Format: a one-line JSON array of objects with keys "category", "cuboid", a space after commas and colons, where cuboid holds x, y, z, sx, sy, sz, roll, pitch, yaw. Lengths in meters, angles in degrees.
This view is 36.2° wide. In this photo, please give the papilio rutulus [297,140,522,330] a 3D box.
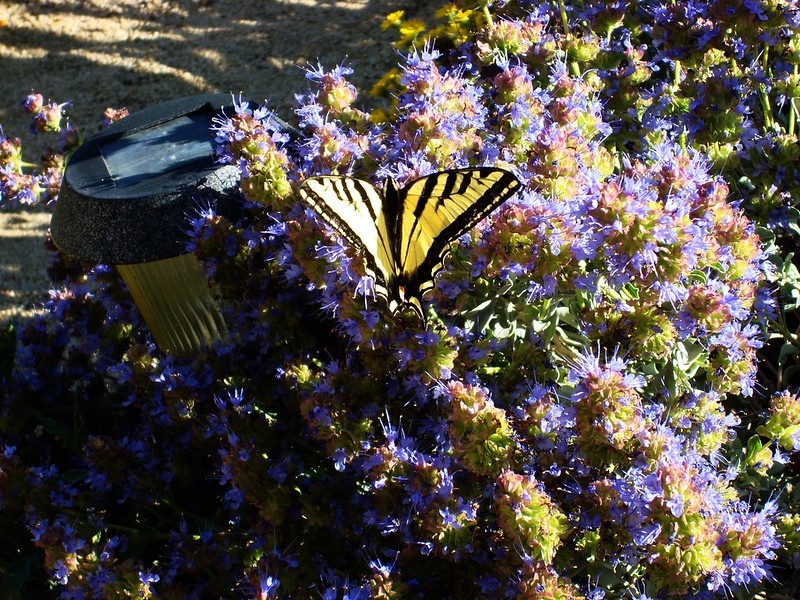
[{"category": "papilio rutulus", "cuboid": [0.037, -0.230, 3.891, 0.648, 0.491, 0.337, -3, 13, 6]}]
